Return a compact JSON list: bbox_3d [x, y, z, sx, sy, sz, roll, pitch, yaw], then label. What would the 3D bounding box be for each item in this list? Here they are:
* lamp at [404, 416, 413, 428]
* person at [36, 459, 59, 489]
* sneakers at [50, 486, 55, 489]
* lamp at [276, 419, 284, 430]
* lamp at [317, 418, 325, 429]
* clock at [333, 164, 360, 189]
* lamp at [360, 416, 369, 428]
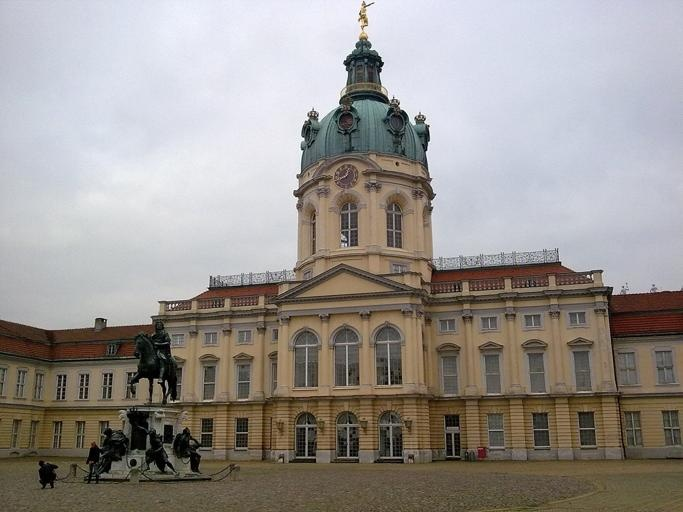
[{"bbox_3d":[5.219,13.039,49.599,0.638,0.821,0.664,2,-14,1],"label":"lamp"},{"bbox_3d":[-13.204,9.890,28.659,0.689,1.069,1.811,7,-20,-24],"label":"person"},{"bbox_3d":[-12.698,10.219,28.079,0.143,0.073,0.574,7,-19,-24],"label":"sneakers"},{"bbox_3d":[-4.957,13.746,51.793,0.649,0.904,0.190,1,-18,-6],"label":"lamp"},{"bbox_3d":[-1.591,13.400,50.623,0.571,0.934,0.279,-6,-18,14],"label":"lamp"},{"bbox_3d":[0.630,-7.385,59.304,2.331,2.335,0.259,-3,-12,15],"label":"clock"},{"bbox_3d":[1.755,13.157,49.986,0.701,0.840,0.606,0,-15,0],"label":"lamp"}]
